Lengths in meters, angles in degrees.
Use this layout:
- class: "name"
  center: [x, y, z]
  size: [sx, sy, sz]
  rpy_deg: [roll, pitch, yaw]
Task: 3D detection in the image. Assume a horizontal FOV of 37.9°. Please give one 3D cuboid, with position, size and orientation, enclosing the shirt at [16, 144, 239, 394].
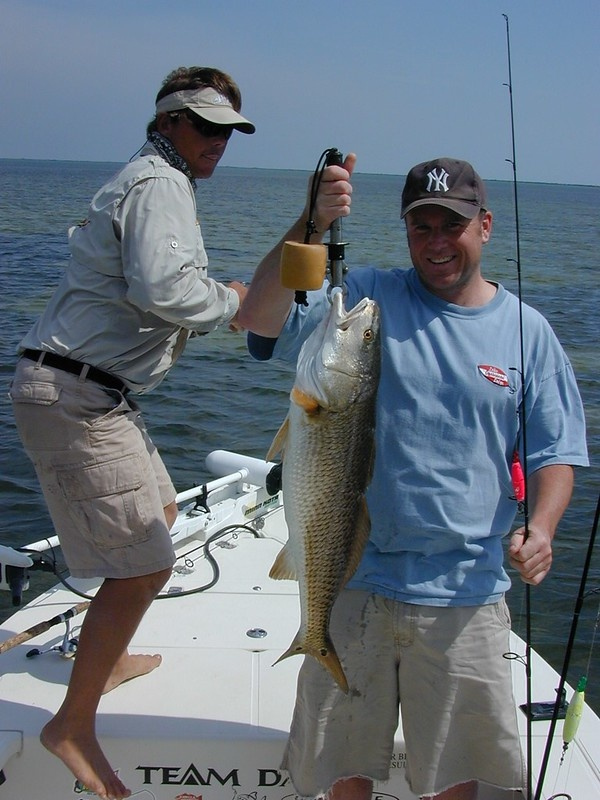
- class: "shirt"
  center: [-0.564, -0.404, 2.880]
  size: [0.737, 0.800, 0.428]
  rpy_deg: [-4, 19, -10]

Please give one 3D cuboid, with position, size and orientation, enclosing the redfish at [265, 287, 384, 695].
- class: "redfish"
  center: [0.077, 0.258, 2.404]
  size: [0.239, 1.103, 0.279]
  rpy_deg: [3, 20, 13]

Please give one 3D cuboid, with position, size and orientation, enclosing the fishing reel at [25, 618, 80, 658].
- class: "fishing reel"
  center: [-0.936, 0.943, 3.397]
  size: [0.240, 0.103, 0.117]
  rpy_deg: [-11, -23, -28]
